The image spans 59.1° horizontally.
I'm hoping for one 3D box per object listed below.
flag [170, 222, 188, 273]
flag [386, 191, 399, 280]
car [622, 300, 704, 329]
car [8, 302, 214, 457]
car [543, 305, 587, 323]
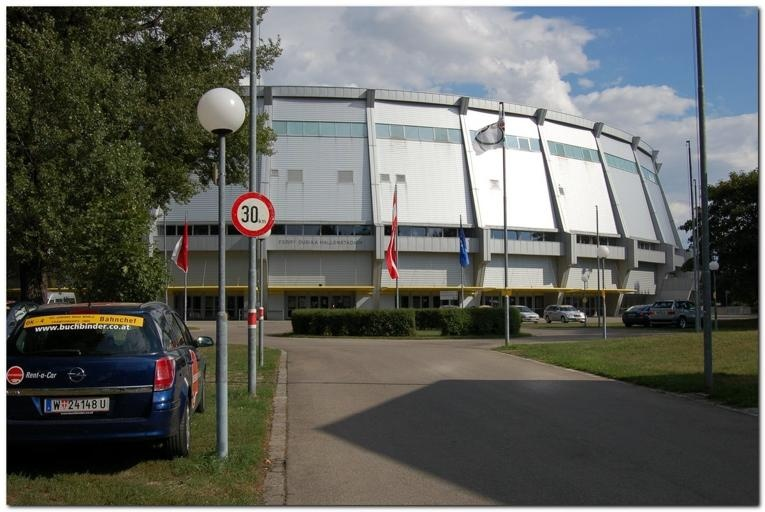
[{"bbox_3d":[-11.970,-0.629,40.014,0.788,3.437,0.285,-3,-24,-6],"label":"flag"},{"bbox_3d":[0.562,-1.235,37.668,0.953,5.296,0.535,-6,15,-38],"label":"flag"},{"bbox_3d":[16.184,3.451,39.271,1.332,1.798,3.829,-4,5,-43],"label":"car"},{"bbox_3d":[-4.835,2.158,11.768,2.926,2.622,1.789,-1,4,-14],"label":"car"},{"bbox_3d":[13.767,4.445,51.151,1.357,1.063,3.063,2,-8,-21],"label":"car"}]
